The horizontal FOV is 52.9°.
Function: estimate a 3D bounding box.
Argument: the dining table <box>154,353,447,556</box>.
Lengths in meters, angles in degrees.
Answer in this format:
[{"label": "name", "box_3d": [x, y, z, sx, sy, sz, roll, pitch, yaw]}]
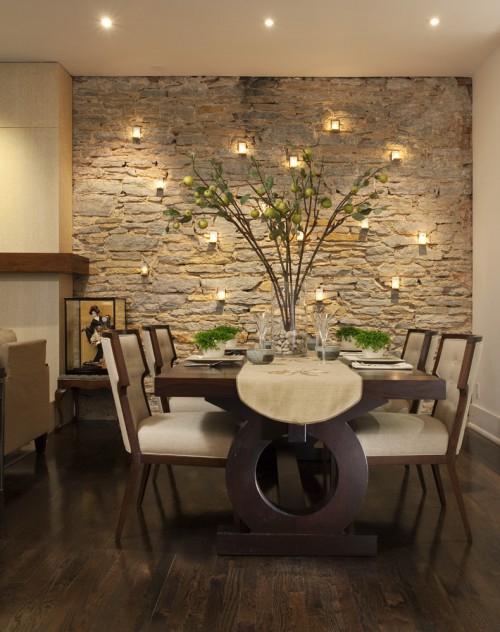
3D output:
[{"label": "dining table", "box_3d": [0.201, 0.634, 2.624, 1.243, 0.666, 1.388, 0, -3, 5]}]

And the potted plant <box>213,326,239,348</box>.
[{"label": "potted plant", "box_3d": [-0.130, 0.127, 2.588, 0.137, 0.101, 0.153, 0, 4, 4]}]

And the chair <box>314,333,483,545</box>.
[{"label": "chair", "box_3d": [0.556, 0.509, 2.691, 0.885, 1.302, 0.789, 2, -1, 4]}]

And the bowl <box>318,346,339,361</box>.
[{"label": "bowl", "box_3d": [0.394, 0.190, 2.504, 0.082, 0.039, 0.085, -1, -5, 0]}]

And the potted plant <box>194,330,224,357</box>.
[{"label": "potted plant", "box_3d": [-0.207, 0.132, 2.558, 0.147, 0.126, 0.140, -1, 4, -6]}]

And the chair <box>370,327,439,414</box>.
[{"label": "chair", "box_3d": [0.878, 0.363, 3.149, 0.443, 0.583, 0.414, 2, 1, -27]}]

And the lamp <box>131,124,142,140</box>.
[{"label": "lamp", "box_3d": [-1.092, -1.760, 4.838, 0.101, 0.129, 0.081, 0, 0, -10]}]

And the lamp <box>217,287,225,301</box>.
[{"label": "lamp", "box_3d": [-0.273, -0.202, 4.787, 0.104, 0.176, 0.100, 0, 2, 4]}]

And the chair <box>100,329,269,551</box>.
[{"label": "chair", "box_3d": [-0.350, 0.531, 2.427, 0.674, 0.892, 0.572, 1, 2, 2]}]

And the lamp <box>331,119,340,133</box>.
[{"label": "lamp", "box_3d": [0.820, -1.825, 4.794, 0.106, 0.131, 0.067, 0, 0, 1]}]

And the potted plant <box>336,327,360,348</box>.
[{"label": "potted plant", "box_3d": [0.593, 0.132, 2.961, 0.158, 0.144, 0.146, 1, 6, -2]}]

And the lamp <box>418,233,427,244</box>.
[{"label": "lamp", "box_3d": [1.655, -0.736, 4.778, 0.096, 0.105, 0.040, 0, 0, -4]}]

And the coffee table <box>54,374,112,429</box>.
[{"label": "coffee table", "box_3d": [-1.485, 0.781, 4.534, 0.588, 0.460, 0.422, 3, -20, -25]}]

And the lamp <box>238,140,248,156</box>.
[{"label": "lamp", "box_3d": [-0.074, -1.601, 4.790, 0.117, 0.158, 0.113, 0, 1, -7]}]

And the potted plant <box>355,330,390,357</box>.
[{"label": "potted plant", "box_3d": [0.620, 0.127, 2.537, 0.165, 0.129, 0.149, 0, 4, 1]}]
